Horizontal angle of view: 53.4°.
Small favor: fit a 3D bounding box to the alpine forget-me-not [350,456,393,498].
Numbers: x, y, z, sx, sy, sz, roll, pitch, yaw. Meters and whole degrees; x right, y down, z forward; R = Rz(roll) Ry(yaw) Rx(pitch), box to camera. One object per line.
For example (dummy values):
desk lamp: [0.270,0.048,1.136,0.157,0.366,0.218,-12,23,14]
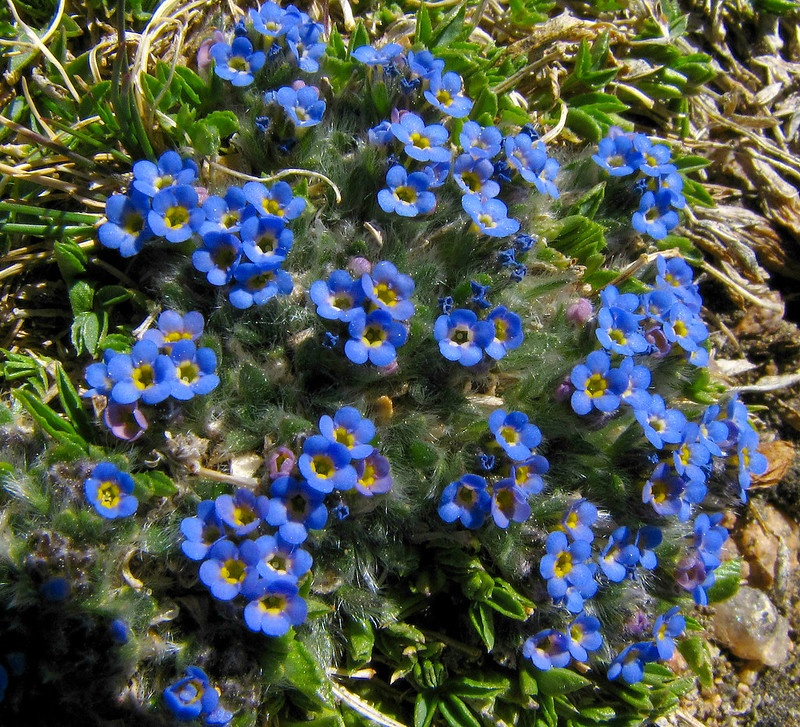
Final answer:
alpine forget-me-not: [-0.110,0.458,3.216,0.144,0.082,0.165,-4,81,-27]
